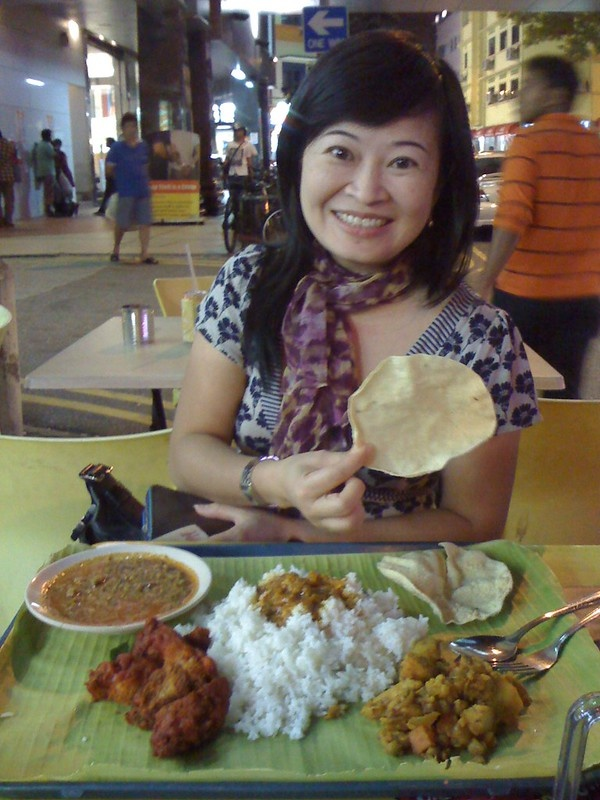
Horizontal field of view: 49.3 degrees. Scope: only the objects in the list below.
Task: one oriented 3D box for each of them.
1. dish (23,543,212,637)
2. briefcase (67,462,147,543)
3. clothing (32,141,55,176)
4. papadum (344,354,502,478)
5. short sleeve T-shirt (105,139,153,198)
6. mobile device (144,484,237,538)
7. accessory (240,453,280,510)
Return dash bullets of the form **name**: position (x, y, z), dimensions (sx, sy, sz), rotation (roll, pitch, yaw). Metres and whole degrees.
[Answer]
- **dish**: position (-0.295, 0.307, 1.081), dimensions (0.157, 0.031, 0.149), rotation (-4, 21, -27)
- **briefcase**: position (-0.443, 0.261, 1.577), dimensions (0.098, 0.207, 0.164), rotation (-22, 35, -38)
- **clothing**: position (-6.945, -6.575, 17.714), dimensions (0.741, 0.779, 0.435), rotation (13, 42, 2)
- **papadum**: position (0.223, 0.020, 1.201), dimensions (0.263, 0.193, 0.173), rotation (-1, 13, -7)
- **short sleeve T-shirt**: position (-2.120, -2.968, 8.325), dimensions (0.863, 0.745, 0.426), rotation (12, 17, 40)
- **mobile device**: position (-0.272, 0.256, 1.527), dimensions (0.191, 0.074, 0.221), rotation (-4, 14, -23)
- **accessory**: position (-0.105, 0.179, 1.496), dimensions (0.030, 0.102, 0.110), rotation (-12, -6, 40)
